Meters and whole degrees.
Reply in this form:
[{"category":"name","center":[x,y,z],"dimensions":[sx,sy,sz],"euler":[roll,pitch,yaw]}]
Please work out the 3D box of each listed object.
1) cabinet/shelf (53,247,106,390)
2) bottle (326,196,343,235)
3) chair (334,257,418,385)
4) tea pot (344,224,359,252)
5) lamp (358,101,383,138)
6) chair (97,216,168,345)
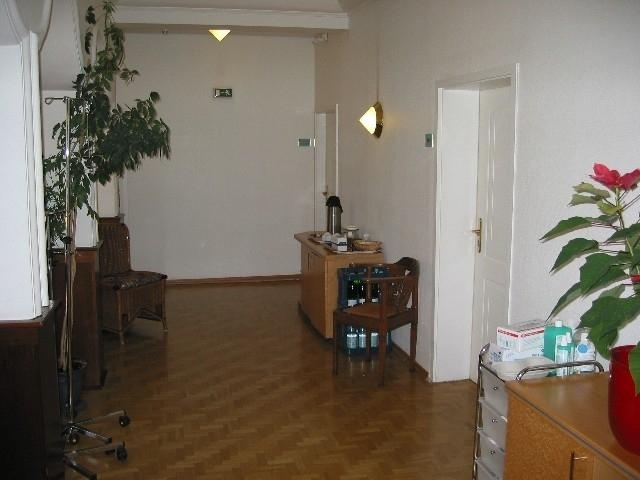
[{"category":"cabinet/shelf","center":[-2.237,0.756,4.811],"dimensions":[0.241,1.358,0.684],"euler":[0,6,13]},{"category":"bottle","center":[0.176,-0.318,6.575],"dimensions":[0.200,0.475,0.442],"euler":[-2,6,0]},{"category":"chair","center":[0.571,0.786,5.242],"dimensions":[0.840,1.133,0.876],"euler":[1,6,24]},{"category":"tea pot","center":[0.405,-0.015,6.241],"dimensions":[0.218,0.409,0.240],"euler":[0,8,0]},{"category":"lamp","center":[0.639,-1.443,6.142],"dimensions":[0.145,0.434,0.418],"euler":[-4,6,-26]},{"category":"chair","center":[-2.458,0.455,6.318],"dimensions":[0.831,1.373,0.901],"euler":[1,5,11]}]
